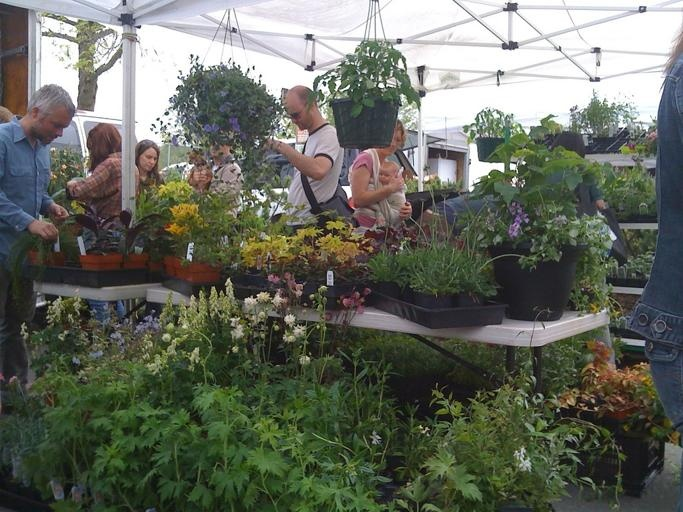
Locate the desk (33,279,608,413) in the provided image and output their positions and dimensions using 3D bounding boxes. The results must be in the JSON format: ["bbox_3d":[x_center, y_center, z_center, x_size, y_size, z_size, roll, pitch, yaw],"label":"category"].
[{"bbox_3d":[-0.309,0.460,4.103,3.951,0.603,1.268,5,4,13],"label":"desk"}]

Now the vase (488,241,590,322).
[{"bbox_3d":[1.075,0.122,3.318,0.406,0.342,0.425,0,-3,-12],"label":"vase"}]

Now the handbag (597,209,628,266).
[{"bbox_3d":[1.993,-0.142,4.524,0.142,0.415,0.394,-28,5,27],"label":"handbag"}]

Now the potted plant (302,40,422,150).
[{"bbox_3d":[0.214,-1.099,4.215,0.698,0.727,0.767,3,6,14],"label":"potted plant"}]

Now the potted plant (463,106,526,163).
[{"bbox_3d":[1.303,-1.053,5.363,0.428,0.453,0.402,-5,17,-1],"label":"potted plant"}]

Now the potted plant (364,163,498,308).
[{"bbox_3d":[0.551,0.058,3.528,0.468,0.404,0.721,0,6,-44],"label":"potted plant"}]

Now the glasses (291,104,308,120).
[{"bbox_3d":[-0.313,-1.011,4.342,0.068,0.076,0.022,-10,-45,36],"label":"glasses"}]

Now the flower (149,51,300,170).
[{"bbox_3d":[-0.809,-0.985,4.171,0.859,0.707,0.324,3,3,-12],"label":"flower"}]

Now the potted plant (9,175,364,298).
[{"bbox_3d":[-0.869,-0.042,4.090,1.471,0.498,1.074,3,1,25],"label":"potted plant"}]
